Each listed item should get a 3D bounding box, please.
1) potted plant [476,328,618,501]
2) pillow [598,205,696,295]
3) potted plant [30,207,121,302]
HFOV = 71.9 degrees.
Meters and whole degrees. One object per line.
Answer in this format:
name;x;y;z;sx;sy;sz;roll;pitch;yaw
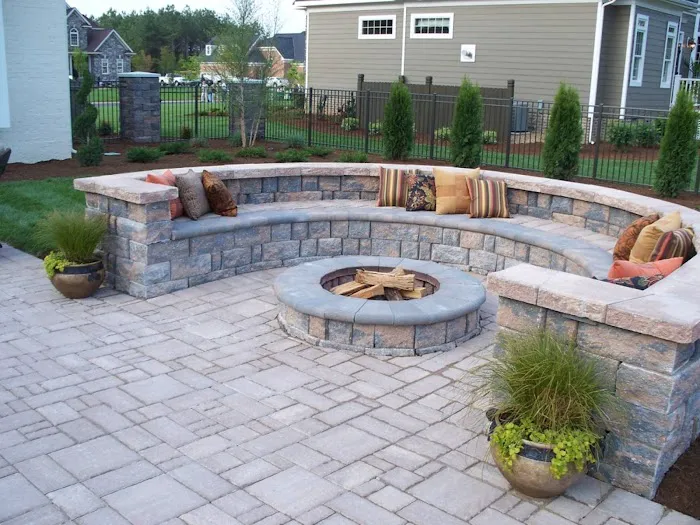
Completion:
potted plant;1.106;0.900;2.858;0.653;0.913;0.641;-16;24;-39
pillow;2.518;-0.107;4.005;0.290;0.817;0.895;35;-15;-14
potted plant;-3.314;-0.004;5.592;0.904;0.807;0.870;-8;1;16
